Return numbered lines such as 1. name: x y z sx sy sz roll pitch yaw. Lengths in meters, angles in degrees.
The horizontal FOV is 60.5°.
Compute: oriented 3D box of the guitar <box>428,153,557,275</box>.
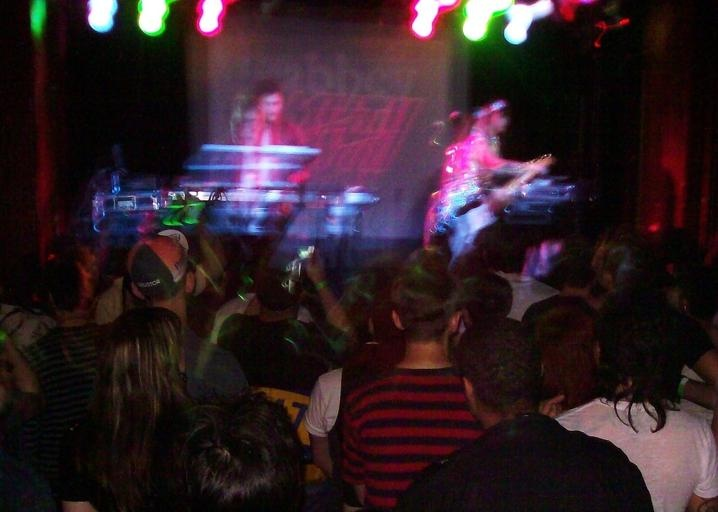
1. guitar: 1.228 -0.399 5.565 1.595 0.481 0.485 -33 -25 -13
